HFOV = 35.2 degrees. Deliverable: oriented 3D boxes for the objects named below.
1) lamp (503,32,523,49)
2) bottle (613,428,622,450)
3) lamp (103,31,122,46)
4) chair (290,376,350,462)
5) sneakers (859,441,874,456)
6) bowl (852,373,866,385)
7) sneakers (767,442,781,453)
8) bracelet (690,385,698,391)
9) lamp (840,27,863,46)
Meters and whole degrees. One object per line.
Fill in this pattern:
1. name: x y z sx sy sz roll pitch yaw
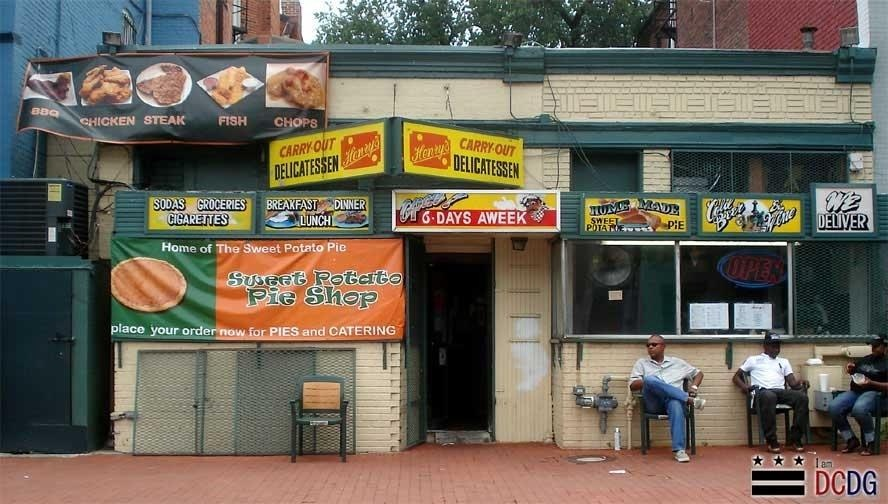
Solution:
1. lamp: 1.681 -5.030 33.258 0.405 0.383 0.561 -2 -6 10
2. bottle: 4.071 4.339 32.546 0.138 0.515 0.181 -4 -7 20
3. lamp: -7.787 -5.024 33.068 0.425 0.344 0.257 1 -7 -15
4. chair: -2.797 3.809 32.017 1.319 1.933 0.877 -1 -7 -4
5. sneakers: 9.645 4.450 31.762 0.308 0.303 0.292 -3 -6 14
6. bowl: 9.465 2.884 31.810 0.271 0.237 0.109 -3 -7 15
7. sneakers: 7.549 4.469 31.899 0.289 0.232 0.226 -2 -6 8
8. bracelet: 5.764 3.106 32.144 0.172 0.089 0.172 0 -7 33
9. lamp: 9.656 -5.099 33.322 0.599 0.423 0.508 0 2 6
